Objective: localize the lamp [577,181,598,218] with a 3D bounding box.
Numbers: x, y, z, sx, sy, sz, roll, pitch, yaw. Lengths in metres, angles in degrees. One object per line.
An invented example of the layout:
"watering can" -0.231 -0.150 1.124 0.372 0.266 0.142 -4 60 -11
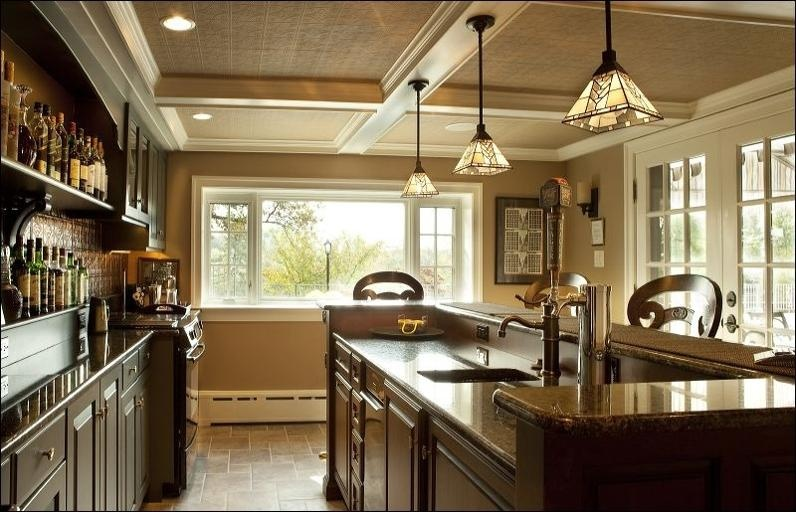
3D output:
"lamp" 1.860 -0.551 5.668 0.203 0.366 0.232 0 0 16

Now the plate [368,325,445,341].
"plate" 0.061 0.517 3.850 0.475 0.053 0.388 0 0 -2

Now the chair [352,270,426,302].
"chair" -0.086 0.254 5.036 0.397 0.248 0.529 0 0 43

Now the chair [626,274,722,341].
"chair" 1.728 0.298 3.560 0.465 0.389 0.887 0 0 29

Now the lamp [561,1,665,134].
"lamp" 0.954 -0.876 2.544 0.351 0.572 0.357 0 0 39
